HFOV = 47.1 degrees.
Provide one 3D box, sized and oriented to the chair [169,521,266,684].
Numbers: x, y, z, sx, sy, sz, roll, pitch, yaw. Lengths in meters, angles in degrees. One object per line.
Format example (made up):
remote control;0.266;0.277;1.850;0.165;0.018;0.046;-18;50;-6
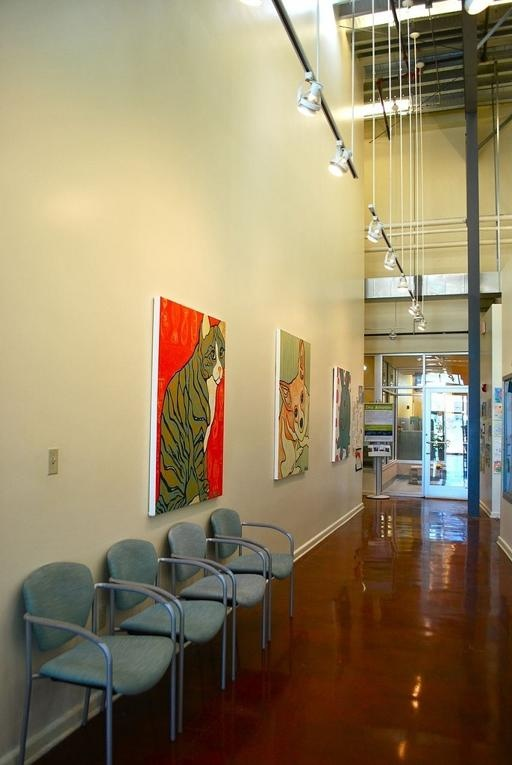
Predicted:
chair;-0.220;1.198;3.627;0.589;1.104;0.699;-2;-6;26

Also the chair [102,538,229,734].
chair;-0.380;1.119;3.107;0.584;1.122;0.731;-2;-5;25
